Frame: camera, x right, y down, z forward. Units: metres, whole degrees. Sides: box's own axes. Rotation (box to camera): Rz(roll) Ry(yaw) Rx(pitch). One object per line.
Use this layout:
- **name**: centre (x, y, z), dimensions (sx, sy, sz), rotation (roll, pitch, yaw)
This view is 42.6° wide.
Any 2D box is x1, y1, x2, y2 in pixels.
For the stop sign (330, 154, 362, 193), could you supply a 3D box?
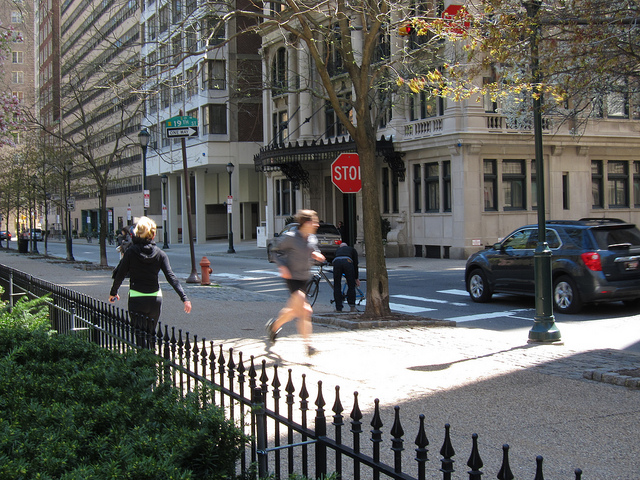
- **stop sign**: centre (0.500, -1.325, 16.255), dimensions (0.541, 0.737, 0.324), rotation (-2, 0, -3)

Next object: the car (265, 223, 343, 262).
- **car**: centre (-0.356, -0.101, 31.201), dimensions (1.459, 1.485, 3.175), rotation (0, 6, -24)

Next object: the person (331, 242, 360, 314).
- **person**: centre (0.535, 0.820, 17.667), dimensions (0.565, 1.445, 1.115), rotation (-2, 0, 1)

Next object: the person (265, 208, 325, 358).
- **person**: centre (-0.434, 0.653, 13.990), dimensions (0.880, 2.459, 1.311), rotation (-2, 0, -1)

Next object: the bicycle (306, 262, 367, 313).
- **bicycle**: centre (0.366, 1.135, 19.156), dimensions (1.593, 1.110, 0.833), rotation (9, 6, 30)

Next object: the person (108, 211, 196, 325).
- **person**: centre (-2.596, 0.884, 12.451), dimensions (1.289, 2.518, 0.814), rotation (6, 13, 12)
